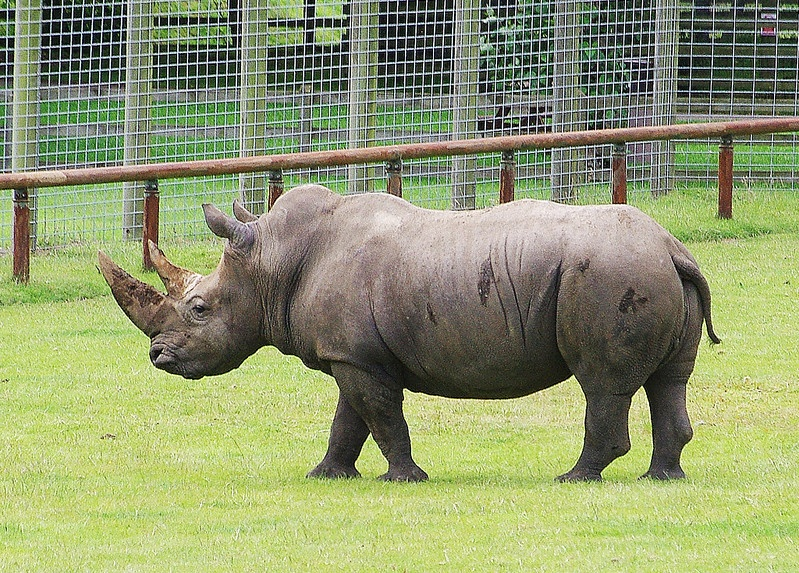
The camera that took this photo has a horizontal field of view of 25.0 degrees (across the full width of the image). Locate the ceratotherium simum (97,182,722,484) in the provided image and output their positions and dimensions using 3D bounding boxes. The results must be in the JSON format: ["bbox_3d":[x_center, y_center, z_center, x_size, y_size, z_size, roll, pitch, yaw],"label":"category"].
[{"bbox_3d":[0.443,0.402,12.737,4.502,2.613,1.633,1,0,17],"label":"ceratotherium simum"}]
